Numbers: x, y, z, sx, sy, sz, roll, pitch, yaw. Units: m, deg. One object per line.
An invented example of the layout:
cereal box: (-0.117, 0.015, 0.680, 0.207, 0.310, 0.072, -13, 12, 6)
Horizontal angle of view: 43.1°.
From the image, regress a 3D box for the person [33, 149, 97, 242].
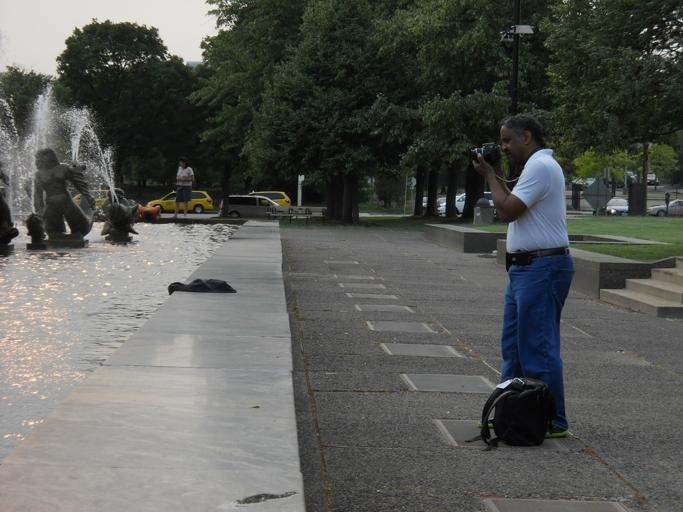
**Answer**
person: (-6.406, -1.439, 19.971, 1.232, 2.090, 0.848, -5, 9, -18)

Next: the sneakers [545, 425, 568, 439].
sneakers: (1.794, 1.464, 7.245, 0.228, 0.095, 0.090, -4, 5, -38)

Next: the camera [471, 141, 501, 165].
camera: (1.252, -0.895, 7.498, 0.207, 0.147, 0.253, -1, 3, 2)

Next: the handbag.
handbag: (1.400, 1.226, 7.250, 0.636, 0.605, 0.463, 10, 0, -22)

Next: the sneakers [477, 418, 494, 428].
sneakers: (1.206, 1.401, 7.207, 0.074, 0.042, 0.123, 3, 7, 25)
